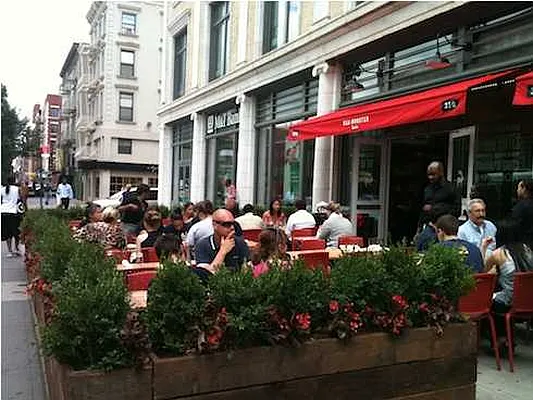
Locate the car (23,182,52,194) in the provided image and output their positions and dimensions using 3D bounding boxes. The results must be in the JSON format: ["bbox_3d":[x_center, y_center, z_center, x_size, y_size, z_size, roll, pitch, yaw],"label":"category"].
[{"bbox_3d":[-18.844,-0.897,47.691,1.566,1.163,3.319,-4,9,-26],"label":"car"}]

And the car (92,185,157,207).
[{"bbox_3d":[-5.824,-0.175,23.441,2.722,1.238,1.416,1,-2,-22],"label":"car"}]

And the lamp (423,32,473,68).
[{"bbox_3d":[3.358,-2.767,10.738,0.782,0.549,0.446,-1,4,2],"label":"lamp"}]

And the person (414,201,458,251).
[{"bbox_3d":[2.420,0.362,8.189,0.316,0.955,0.368,-5,26,-19],"label":"person"}]

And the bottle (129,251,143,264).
[{"bbox_3d":[-1.927,0.841,8.511,0.172,0.171,0.177,5,6,40],"label":"bottle"}]

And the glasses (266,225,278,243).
[{"bbox_3d":[0.062,0.364,6.402,0.106,0.138,0.140,2,-8,-1],"label":"glasses"}]

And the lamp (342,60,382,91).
[{"bbox_3d":[2.292,-2.914,13.671,0.912,0.648,0.495,0,2,19],"label":"lamp"}]

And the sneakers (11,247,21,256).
[{"bbox_3d":[-6.538,1.349,15.078,0.264,0.115,0.093,20,-10,45],"label":"sneakers"}]
